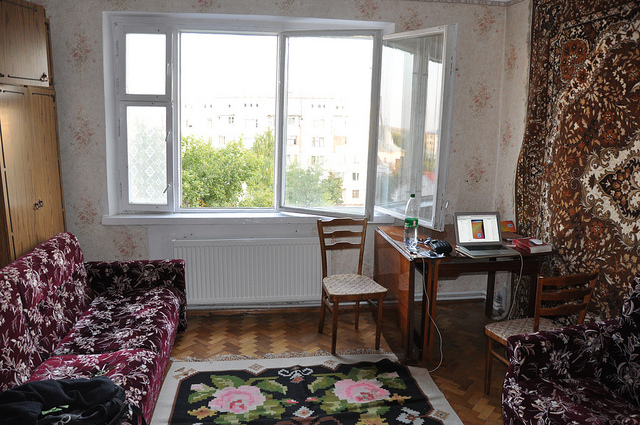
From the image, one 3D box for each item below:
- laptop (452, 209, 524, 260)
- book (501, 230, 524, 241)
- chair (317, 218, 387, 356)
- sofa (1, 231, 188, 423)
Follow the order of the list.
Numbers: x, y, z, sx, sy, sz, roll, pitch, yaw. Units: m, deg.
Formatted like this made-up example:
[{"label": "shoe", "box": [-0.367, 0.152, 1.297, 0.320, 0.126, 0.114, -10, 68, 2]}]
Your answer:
[{"label": "laptop", "box": [1.488, 0.194, 4.187, 0.559, 0.381, 0.438, -2, 8, -3]}, {"label": "book", "box": [1.830, 0.222, 4.478, 0.135, 0.029, 0.140, -3, 15, -6]}, {"label": "chair", "box": [0.303, 0.654, 4.554, 0.636, 1.179, 1.004, -1, 8, 4]}, {"label": "sofa", "box": [-1.767, 0.862, 3.648, 1.048, 1.251, 1.443, -2, 8, -3]}]
